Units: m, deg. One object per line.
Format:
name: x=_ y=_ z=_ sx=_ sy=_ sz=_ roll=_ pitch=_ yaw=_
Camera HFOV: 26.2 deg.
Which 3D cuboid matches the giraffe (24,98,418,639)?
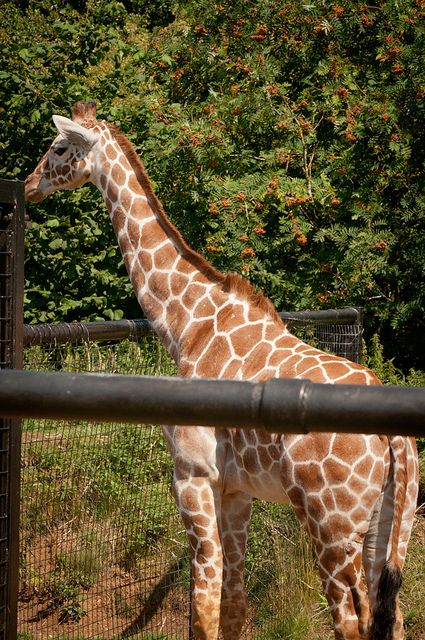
giraffe: x=0.114 y=0.346 z=4.207 sx=0.726 sy=2.695 sz=1.940 roll=-2 pitch=5 yaw=-30
